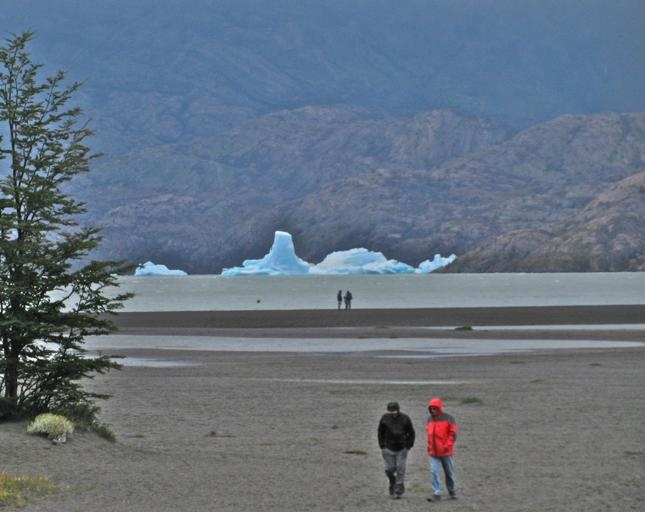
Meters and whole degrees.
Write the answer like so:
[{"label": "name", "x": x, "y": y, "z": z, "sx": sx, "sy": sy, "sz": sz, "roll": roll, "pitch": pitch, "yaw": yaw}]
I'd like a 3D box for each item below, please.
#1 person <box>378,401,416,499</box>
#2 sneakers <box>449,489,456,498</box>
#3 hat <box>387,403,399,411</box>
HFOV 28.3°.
[{"label": "person", "x": 2.185, "y": 5.638, "z": 37.623, "sx": 1.034, "sy": 2.819, "sz": 0.814, "roll": 1, "pitch": 9, "yaw": 3}, {"label": "sneakers", "x": 3.829, "y": 6.984, "z": 37.658, "sx": 0.289, "sy": 0.244, "sz": 0.161, "roll": -2, "pitch": 1, "yaw": 0}, {"label": "hat", "x": 2.096, "y": 4.392, "z": 37.483, "sx": 0.259, "sy": 0.228, "sz": 0.325, "roll": 3, "pitch": 10, "yaw": 13}]
